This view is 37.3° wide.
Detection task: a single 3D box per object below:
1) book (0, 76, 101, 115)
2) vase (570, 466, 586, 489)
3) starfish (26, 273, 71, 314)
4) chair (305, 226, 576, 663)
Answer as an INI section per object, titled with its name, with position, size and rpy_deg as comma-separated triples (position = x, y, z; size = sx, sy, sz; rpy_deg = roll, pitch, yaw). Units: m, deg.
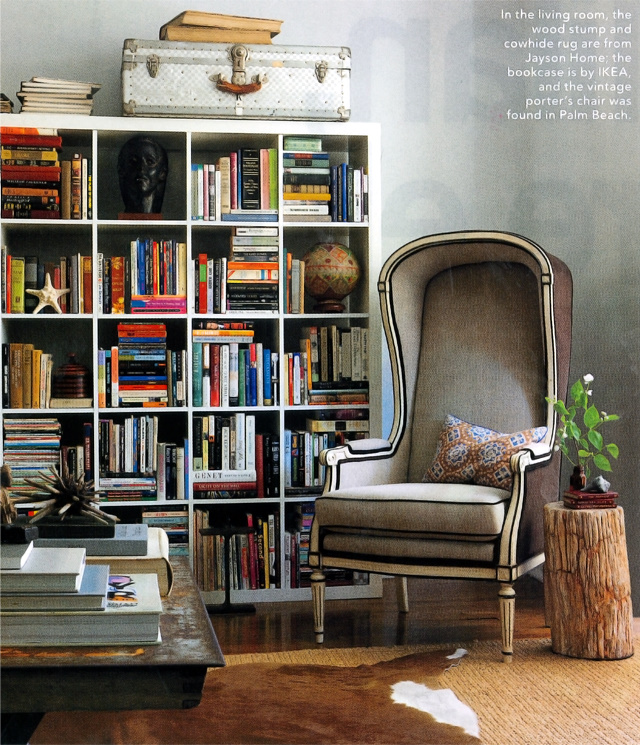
[book]
position = -0.963, -1.010, 3.494
size = 0.287, 0.142, 0.072
rpy_deg = -1, 1, -10
[vase]
position = 0.795, 0.329, 2.936
size = 0.049, 0.075, 0.141
rpy_deg = 0, 1, 15
[starfish]
position = -1.007, -0.288, 3.488
size = 0.167, 0.156, 0.151
rpy_deg = 0, 1, 27
[chair]
position = 0.448, 0.179, 3.184
size = 0.713, 1.440, 0.741
rpy_deg = -2, -7, 38
